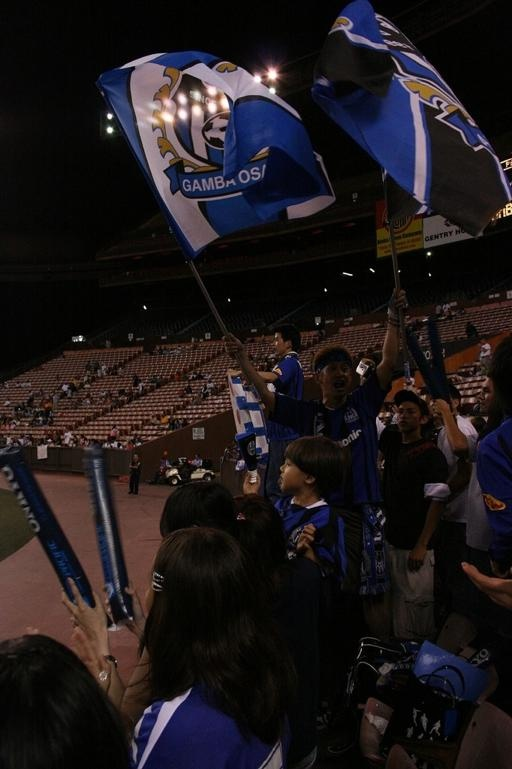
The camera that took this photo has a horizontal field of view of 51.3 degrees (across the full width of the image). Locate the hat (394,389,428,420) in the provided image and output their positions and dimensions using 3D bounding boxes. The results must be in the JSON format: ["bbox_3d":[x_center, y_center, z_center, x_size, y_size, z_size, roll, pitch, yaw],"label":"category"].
[{"bbox_3d":[0.933,0.128,3.207,0.183,0.172,0.269,-9,6,17],"label":"hat"}]
